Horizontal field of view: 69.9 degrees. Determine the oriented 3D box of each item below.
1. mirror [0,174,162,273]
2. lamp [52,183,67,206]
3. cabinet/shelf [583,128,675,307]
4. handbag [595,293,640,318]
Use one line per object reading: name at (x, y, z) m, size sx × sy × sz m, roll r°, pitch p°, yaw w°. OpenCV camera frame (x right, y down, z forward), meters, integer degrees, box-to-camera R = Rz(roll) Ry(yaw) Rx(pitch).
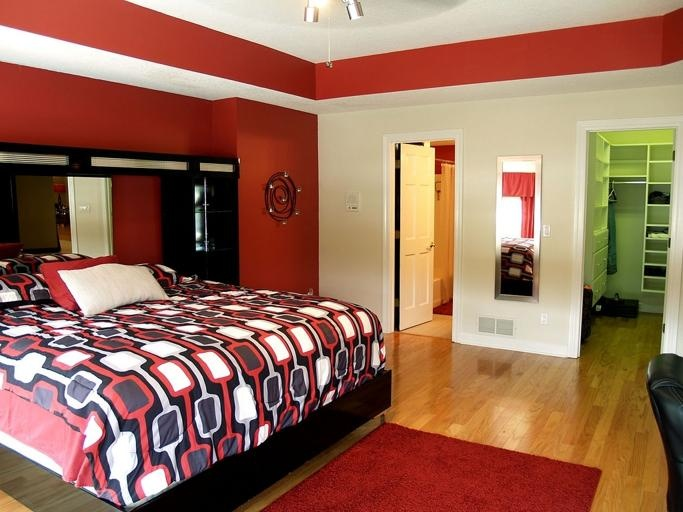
mirror at (-2.368, -0.293, 4.367) m, size 0.030 × 0.668 × 0.920 m, roll 2°, pitch 4°, yaw 28°
lamp at (-2.463, -0.541, 4.300) m, size 0.025 × 0.202 × 0.106 m, roll 12°, pitch 16°, yaw 30°
cabinet/shelf at (4.206, -0.487, 7.085) m, size 1.186 × 2.619 × 1.480 m, roll 13°, pitch 16°, yaw 32°
handbag at (4.029, 0.765, 7.245) m, size 0.439 × 0.147 × 0.320 m, roll 3°, pitch 9°, yaw 23°
